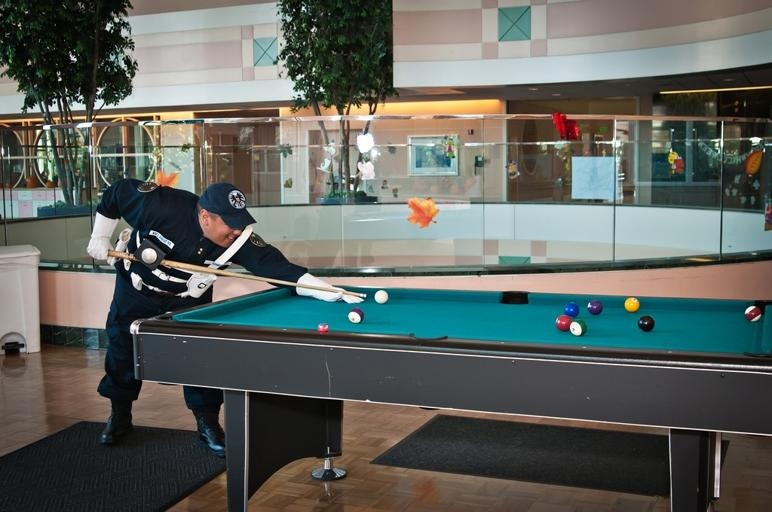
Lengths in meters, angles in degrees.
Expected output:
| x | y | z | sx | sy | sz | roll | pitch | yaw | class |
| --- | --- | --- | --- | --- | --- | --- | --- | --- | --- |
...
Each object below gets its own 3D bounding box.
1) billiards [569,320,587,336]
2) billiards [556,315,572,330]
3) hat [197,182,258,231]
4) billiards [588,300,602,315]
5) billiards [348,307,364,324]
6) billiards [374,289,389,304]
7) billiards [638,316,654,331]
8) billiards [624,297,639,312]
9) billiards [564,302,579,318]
| x | y | z | sx | sy | sz | roll | pitch | yaw | class |
| --- | --- | --- | --- | --- | --- | --- | --- | --- | --- |
| 0.933 | 0.356 | 3.051 | 0.062 | 0.071 | 0.098 | -12 | 16 | -43 | billiards |
| 0.898 | 0.329 | 3.150 | 0.071 | 0.074 | 0.075 | 13 | 28 | 30 | billiards |
| -0.956 | -0.344 | 3.786 | 0.379 | 0.182 | 0.247 | 31 | 41 | 24 | hat |
| 1.154 | 0.289 | 3.460 | 0.079 | 0.075 | 0.074 | -11 | 17 | -30 | billiards |
| -0.164 | 0.320 | 3.259 | 0.082 | 0.076 | 0.099 | -1 | 12 | -4 | billiards |
| -0.033 | 0.251 | 3.683 | 0.076 | 0.074 | 0.078 | 18 | -7 | 16 | billiards |
| 1.308 | 0.347 | 3.110 | 0.078 | 0.073 | 0.072 | -10 | 37 | 9 | billiards |
| 1.388 | 0.277 | 3.489 | 0.083 | 0.077 | 0.125 | 4 | 12 | 21 | billiards |
| 1.006 | 0.302 | 3.379 | 0.080 | 0.088 | 0.078 | 4 | 20 | 12 | billiards |
